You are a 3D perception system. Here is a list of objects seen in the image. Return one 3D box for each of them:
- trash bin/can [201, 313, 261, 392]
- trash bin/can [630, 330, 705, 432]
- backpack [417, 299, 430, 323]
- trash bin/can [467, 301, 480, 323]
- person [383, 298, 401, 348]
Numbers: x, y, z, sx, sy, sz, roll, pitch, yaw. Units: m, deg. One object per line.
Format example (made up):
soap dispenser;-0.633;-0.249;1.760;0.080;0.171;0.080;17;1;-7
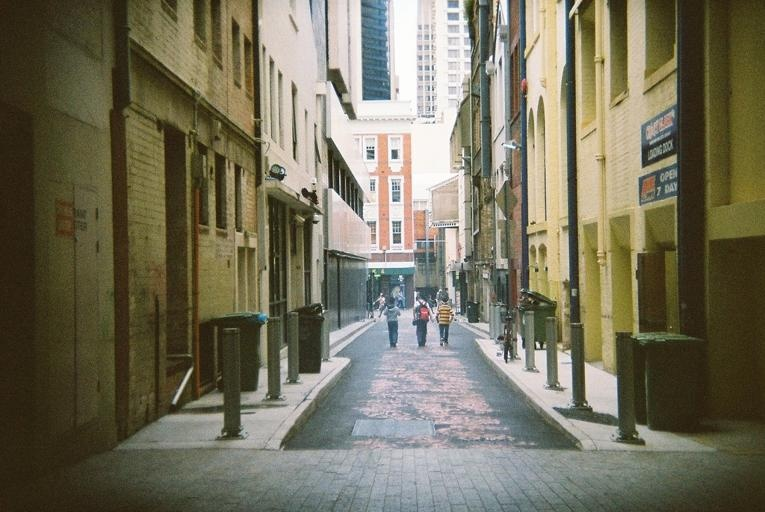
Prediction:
trash bin/can;-3.124;1.874;15.123;1.262;1.632;1.383;-1;-5;-4
trash bin/can;4.434;1.933;11.710;1.006;1.422;0.508;1;3;19
backpack;1.424;1.893;26.657;0.425;0.722;0.798;0;3;9
trash bin/can;5.140;3.107;42.683;0.891;1.569;0.986;0;-1;-4
person;0.311;2.258;26.663;0.412;1.747;1.053;0;3;-1
